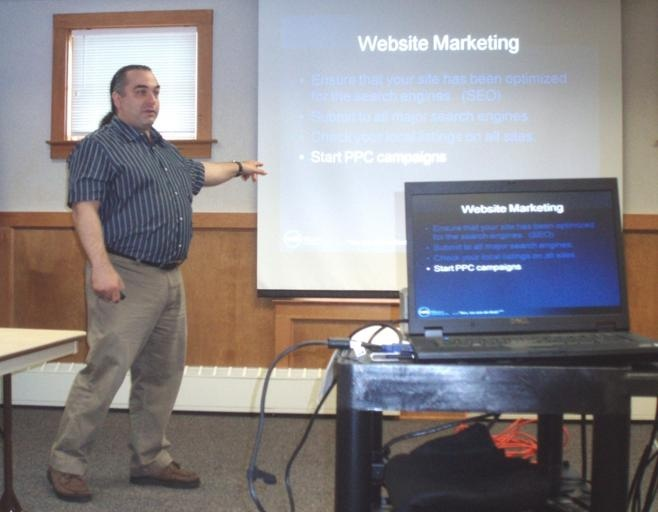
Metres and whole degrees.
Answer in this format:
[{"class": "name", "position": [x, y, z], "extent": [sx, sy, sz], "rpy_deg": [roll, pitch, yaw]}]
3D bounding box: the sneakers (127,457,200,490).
[{"class": "sneakers", "position": [-0.804, 1.060, 3.428], "extent": [0.348, 0.169, 0.134], "rpy_deg": [1, -5, 0]}]

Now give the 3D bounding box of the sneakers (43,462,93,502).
[{"class": "sneakers", "position": [-1.263, 1.062, 3.312], "extent": [0.331, 0.151, 0.129], "rpy_deg": [6, -10, 40]}]

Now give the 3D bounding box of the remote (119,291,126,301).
[{"class": "remote", "position": [-0.979, 0.184, 3.277], "extent": [0.013, 0.043, 0.034], "rpy_deg": [10, 16, 43]}]

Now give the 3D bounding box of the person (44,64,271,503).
[{"class": "person", "position": [-0.982, 0.092, 3.402], "extent": [0.849, 2.005, 0.615], "rpy_deg": [-3, 11, -13]}]
